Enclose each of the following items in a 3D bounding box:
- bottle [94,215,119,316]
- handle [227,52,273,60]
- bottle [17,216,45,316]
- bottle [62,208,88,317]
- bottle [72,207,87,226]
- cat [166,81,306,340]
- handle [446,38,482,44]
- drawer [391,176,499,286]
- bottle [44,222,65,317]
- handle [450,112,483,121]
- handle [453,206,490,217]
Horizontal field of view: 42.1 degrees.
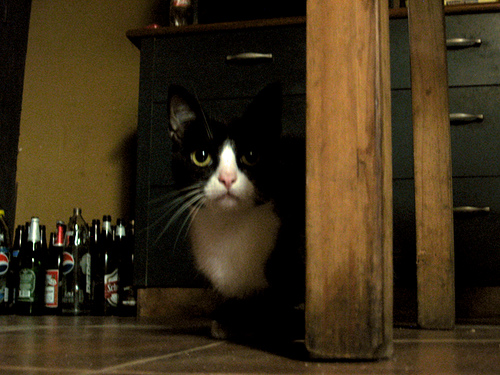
[{"bbox_3d":[-0.553,0.296,2.491,0.092,0.371,0.168,-1,-4,-14],"label":"bottle"},{"bbox_3d":[0.004,-0.435,2.133,0.085,0.018,0.020,-3,-5,3],"label":"handle"},{"bbox_3d":[-0.857,0.337,2.538,0.105,0.299,0.241,0,-4,-19],"label":"bottle"},{"bbox_3d":[-0.688,0.297,2.552,0.100,0.377,0.357,-1,-4,-15],"label":"bottle"},{"bbox_3d":[-0.704,0.120,2.668,0.069,0.102,0.068,-1,-2,0],"label":"bottle"},{"bbox_3d":[-0.025,0.026,1.919,0.424,0.757,0.386,-1,-4,-8],"label":"cat"},{"bbox_3d":[0.689,-0.474,2.087,0.111,0.021,0.020,-3,30,1],"label":"handle"},{"bbox_3d":[0.675,0.132,2.089,0.387,0.396,0.101,1,4,2],"label":"drawer"},{"bbox_3d":[-0.764,0.314,2.532,0.076,0.337,0.238,-1,-4,-17],"label":"bottle"},{"bbox_3d":[0.692,-0.228,2.071,0.112,0.022,0.020,0,-27,-3],"label":"handle"},{"bbox_3d":[0.703,0.075,2.048,0.104,0.024,0.029,1,10,3],"label":"handle"}]
